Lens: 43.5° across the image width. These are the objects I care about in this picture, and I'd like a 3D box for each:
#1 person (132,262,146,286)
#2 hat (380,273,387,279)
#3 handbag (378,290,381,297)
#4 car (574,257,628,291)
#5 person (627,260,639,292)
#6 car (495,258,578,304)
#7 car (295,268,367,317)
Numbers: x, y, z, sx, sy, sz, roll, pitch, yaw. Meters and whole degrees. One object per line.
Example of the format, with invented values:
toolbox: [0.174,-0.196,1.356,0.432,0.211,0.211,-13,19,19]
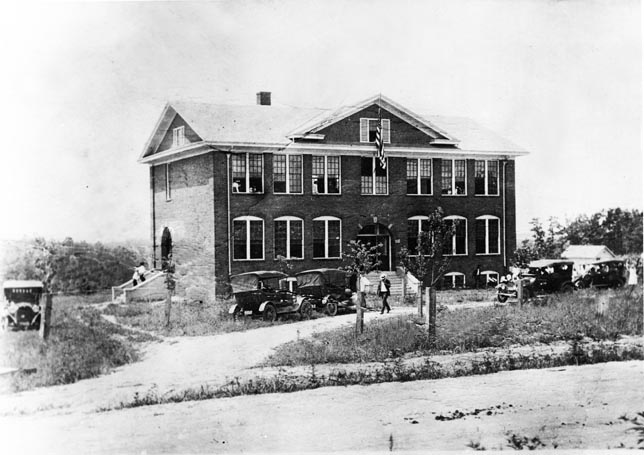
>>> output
person: [-6.536,1.660,28.680,0.402,0.840,0.600,-1,-5,-5]
hat: [2.284,1.775,29.639,0.230,0.238,0.061,14,-10,37]
handbag: [2.116,2.379,29.315,0.130,0.228,0.447,-2,-6,3]
car: [10.433,1.721,30.215,1.702,1.012,1.012,-2,3,-3]
person: [11.599,1.818,29.988,0.694,1.087,0.325,2,-6,-38]
car: [7.974,1.986,30.256,2.497,1.343,1.508,-2,-2,-17]
car: [0.451,2.332,29.886,2.404,1.856,1.449,7,-9,-34]
